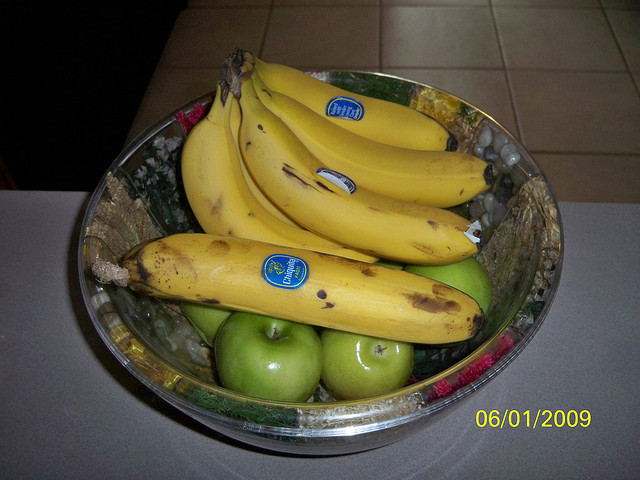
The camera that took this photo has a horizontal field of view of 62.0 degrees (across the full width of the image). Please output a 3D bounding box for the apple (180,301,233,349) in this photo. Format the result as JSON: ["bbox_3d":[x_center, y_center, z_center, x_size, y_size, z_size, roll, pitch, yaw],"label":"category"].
[{"bbox_3d":[-0.208,0.146,1.056,0.103,0.090,0.076,-3,104,8],"label":"apple"}]

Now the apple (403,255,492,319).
[{"bbox_3d":[0.261,0.093,1.077,0.121,0.131,0.133,2,84,0],"label":"apple"}]

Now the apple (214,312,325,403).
[{"bbox_3d":[-0.092,0.165,0.921,0.157,0.170,0.175,1,104,-6],"label":"apple"}]

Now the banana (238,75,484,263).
[{"bbox_3d":[0.054,-0.078,1.015,0.511,0.131,0.210,23,118,-5],"label":"banana"}]

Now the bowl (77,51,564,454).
[{"bbox_3d":[0.020,0.157,1.162,0.750,0.423,0.812,0,58,0],"label":"bowl"}]

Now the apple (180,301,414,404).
[{"bbox_3d":[-0.023,0.219,0.971,0.332,0.212,0.139,10,100,-9],"label":"apple"}]
